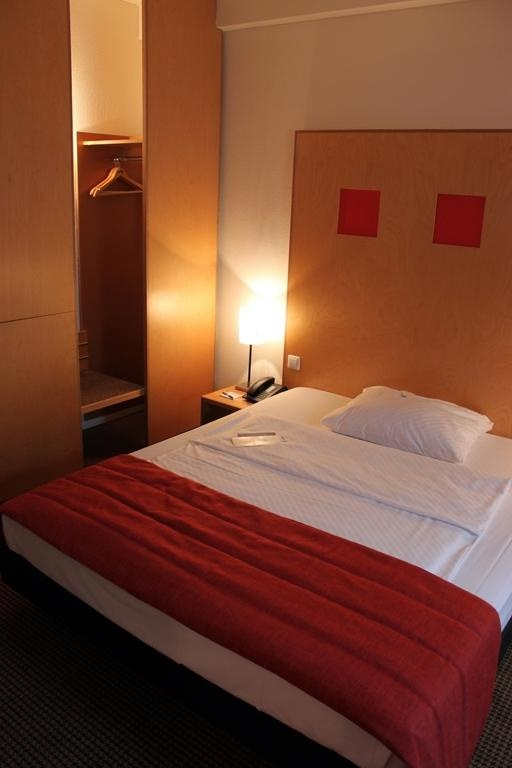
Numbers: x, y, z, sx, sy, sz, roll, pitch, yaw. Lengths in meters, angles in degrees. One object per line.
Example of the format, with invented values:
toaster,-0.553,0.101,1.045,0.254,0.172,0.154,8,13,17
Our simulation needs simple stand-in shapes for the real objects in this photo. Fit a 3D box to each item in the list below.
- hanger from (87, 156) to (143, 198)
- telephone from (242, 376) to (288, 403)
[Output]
hanger,-0.868,-1.276,3.410,0.038,0.165,0.299,22,33,31
telephone,0.054,0.038,3.354,0.205,0.077,0.142,-24,27,-36
